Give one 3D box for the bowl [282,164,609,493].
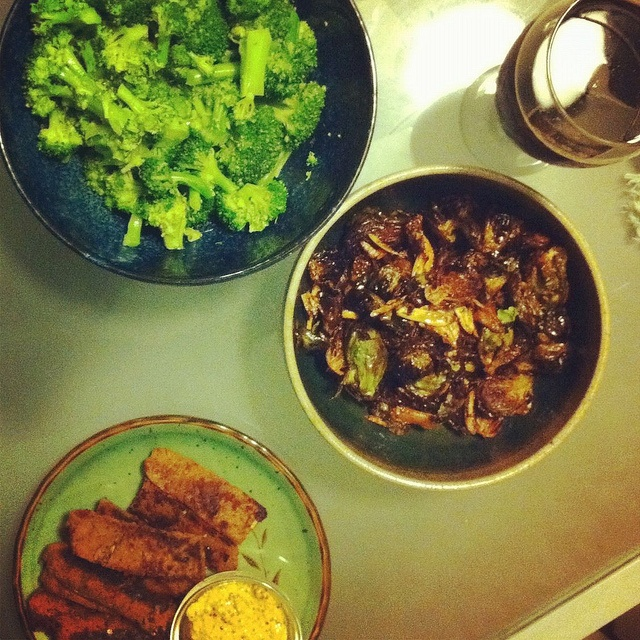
[{"bbox_3d":[0.345,0.013,2.158,0.896,0.381,0.870,-4,-66,-9],"label":"bowl"}]
